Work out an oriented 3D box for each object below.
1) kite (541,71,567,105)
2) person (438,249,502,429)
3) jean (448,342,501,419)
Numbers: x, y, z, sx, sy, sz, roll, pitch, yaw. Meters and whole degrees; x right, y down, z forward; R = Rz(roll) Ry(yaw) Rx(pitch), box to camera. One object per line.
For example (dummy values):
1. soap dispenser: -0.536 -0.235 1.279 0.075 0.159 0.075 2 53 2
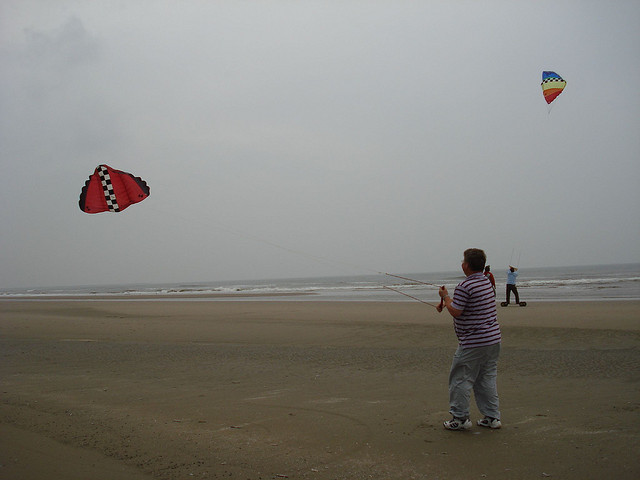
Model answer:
1. kite: 9.398 -6.166 22.210 0.758 1.601 1.525 -2 -2 24
2. person: 1.994 1.287 7.279 0.732 2.337 0.330 -1 -2 12
3. jean: 2.038 1.831 7.289 0.645 0.984 0.355 -1 -2 4
